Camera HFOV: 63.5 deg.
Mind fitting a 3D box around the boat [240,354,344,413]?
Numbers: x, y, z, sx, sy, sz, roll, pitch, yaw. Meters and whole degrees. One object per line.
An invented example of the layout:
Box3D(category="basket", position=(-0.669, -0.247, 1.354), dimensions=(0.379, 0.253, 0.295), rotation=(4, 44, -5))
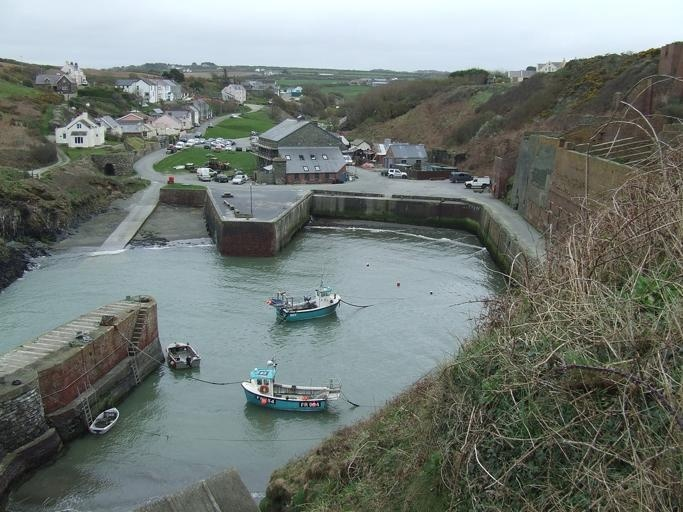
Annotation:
Box3D(category="boat", position=(-2.156, 5.629, 23.744), dimensions=(4.270, 1.952, 1.719), rotation=(5, 15, 6))

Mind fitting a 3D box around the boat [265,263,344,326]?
Box3D(category="boat", position=(-2.014, 2.801, 32.170), dimensions=(4.159, 2.322, 1.841), rotation=(-14, 39, -21))

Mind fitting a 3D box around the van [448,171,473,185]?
Box3D(category="van", position=(14.498, -9.540, 66.757), dimensions=(2.560, 1.169, 1.465), rotation=(-3, 39, 0))

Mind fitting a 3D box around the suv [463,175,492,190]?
Box3D(category="suv", position=(15.674, -8.352, 62.969), dimensions=(2.798, 1.295, 1.560), rotation=(2, 15, 0))

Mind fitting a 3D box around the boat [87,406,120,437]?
Box3D(category="boat", position=(-9.178, 6.434, 21.275), dimensions=(0.727, 0.520, 1.200), rotation=(6, 21, 9))

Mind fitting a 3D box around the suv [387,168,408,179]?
Box3D(category="suv", position=(7.243, -10.603, 71.299), dimensions=(2.437, 1.198, 1.365), rotation=(-3, 24, 0))

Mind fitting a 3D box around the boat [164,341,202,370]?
Box3D(category="boat", position=(-7.576, 4.812, 26.009), dimensions=(1.268, 0.674, 2.017), rotation=(-13, 26, -34))
